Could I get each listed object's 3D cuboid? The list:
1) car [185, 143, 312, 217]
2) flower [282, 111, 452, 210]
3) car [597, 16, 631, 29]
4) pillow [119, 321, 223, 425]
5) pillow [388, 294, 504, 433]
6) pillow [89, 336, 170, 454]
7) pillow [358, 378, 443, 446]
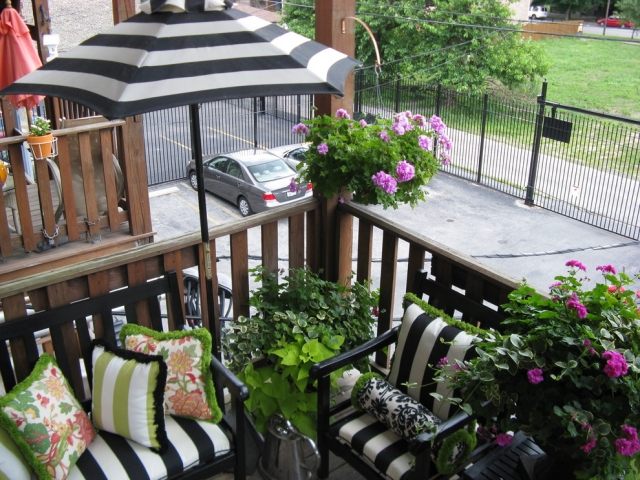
[{"bbox_3d":[-1.517,-1.422,11.155,1.442,1.111,3.370,-18,34,-35],"label":"car"},{"bbox_3d":[0.328,-0.619,2.856,0.708,0.456,0.672,-7,32,-18],"label":"flower"},{"bbox_3d":[19.642,-14.537,33.153,1.668,0.624,0.799,13,31,11],"label":"car"},{"bbox_3d":[-0.788,0.716,2.602,0.442,0.426,0.180,3,-16,2],"label":"pillow"},{"bbox_3d":[0.643,0.626,2.698,0.169,0.509,0.485,-4,20,-31],"label":"pillow"},{"bbox_3d":[-0.969,0.808,2.527,0.466,0.471,0.176,1,-7,16],"label":"pillow"},{"bbox_3d":[0.466,0.826,2.644,0.182,0.206,0.562,-24,32,-35],"label":"pillow"}]
